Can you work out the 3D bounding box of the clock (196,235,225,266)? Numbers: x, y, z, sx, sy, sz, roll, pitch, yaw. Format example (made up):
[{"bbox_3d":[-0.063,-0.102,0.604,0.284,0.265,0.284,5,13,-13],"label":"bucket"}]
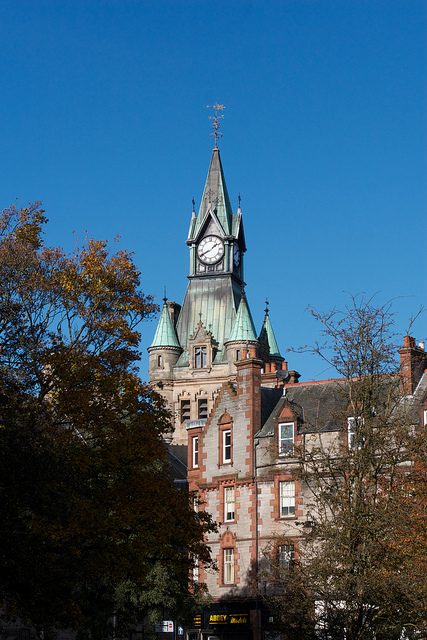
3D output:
[{"bbox_3d":[-0.252,-5.153,124.531,1.462,1.481,0.092,-46,-27,13],"label":"clock"}]

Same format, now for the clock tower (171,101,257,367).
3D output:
[{"bbox_3d":[0.079,-6.500,125.959,7.642,22.723,8.124,0,-20,1],"label":"clock tower"}]
